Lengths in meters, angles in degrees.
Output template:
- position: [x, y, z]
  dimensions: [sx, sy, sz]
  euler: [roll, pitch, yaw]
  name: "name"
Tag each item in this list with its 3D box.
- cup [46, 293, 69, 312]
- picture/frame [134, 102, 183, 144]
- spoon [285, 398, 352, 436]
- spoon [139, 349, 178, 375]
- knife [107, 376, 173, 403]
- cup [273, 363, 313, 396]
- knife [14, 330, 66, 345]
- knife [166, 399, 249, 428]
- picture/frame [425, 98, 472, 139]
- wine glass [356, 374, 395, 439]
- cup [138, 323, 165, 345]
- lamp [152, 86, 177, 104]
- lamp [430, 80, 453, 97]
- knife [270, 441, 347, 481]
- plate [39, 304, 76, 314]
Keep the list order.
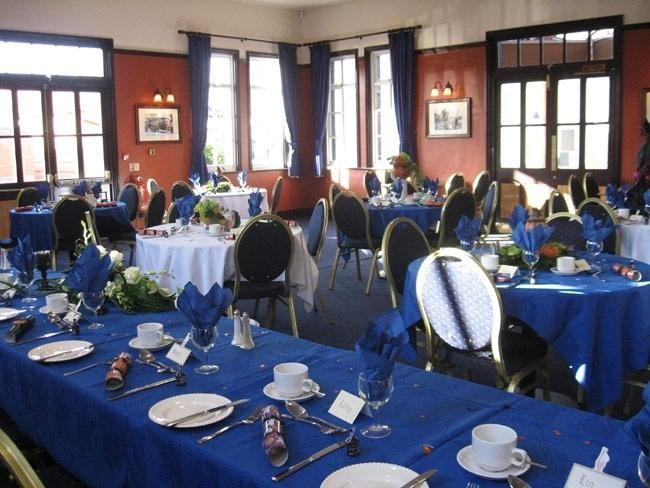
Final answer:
- position: [-1.346, 0.280, 2.675]
  dimensions: [0.076, 0.084, 0.106]
  euler: [-3, 12, -19]
  name: "cup"
- position: [-3.052, -2.204, 9.613]
  dimensions: [0.029, 0.607, 0.719]
  euler: [8, 11, 42]
  name: "picture/frame"
- position: [-0.042, 0.562, 1.709]
  dimensions: [0.201, 0.036, 0.049]
  euler: [20, 37, 34]
  name: "spoon"
- position: [-0.672, 0.473, 2.115]
  dimensions: [0.070, 0.036, 0.199]
  euler: [-4, 13, -34]
  name: "spoon"
- position: [-0.668, 0.528, 1.921]
  dimensions: [0.032, 0.024, 0.236]
  euler: [22, 21, 37]
  name: "knife"
- position: [-0.113, 0.455, 1.852]
  dimensions: [0.083, 0.088, 0.111]
  euler: [-4, 10, -31]
  name: "cup"
- position: [-1.273, 0.422, 2.379]
  dimensions: [0.024, 0.012, 0.214]
  euler: [24, 18, 27]
  name: "knife"
- position: [-0.388, 0.561, 1.746]
  dimensions: [0.175, 0.017, 0.024]
  euler: [-11, 33, -32]
  name: "knife"
- position: [2.270, -2.320, 9.732]
  dimensions: [0.055, 0.622, 0.686]
  euler: [-12, 16, -41]
  name: "picture/frame"
- position: [0.157, 0.476, 1.691]
  dimensions: [0.095, 0.197, 0.184]
  euler: [-1, 12, 4]
  name: "wine glass"
- position: [-0.751, 0.379, 2.294]
  dimensions: [0.070, 0.075, 0.101]
  euler: [0, 10, -7]
  name: "cup"
- position: [-2.889, -2.678, 9.651]
  dimensions: [0.179, 0.292, 0.449]
  euler: [6, 14, 32]
  name: "lamp"
- position: [2.093, -2.816, 9.698]
  dimensions: [0.431, 0.279, 0.141]
  euler: [10, 16, 43]
  name: "lamp"
- position: [-0.050, 0.623, 1.514]
  dimensions: [0.027, 0.008, 0.197]
  euler: [12, 20, 37]
  name: "knife"
- position: [-1.393, 0.330, 2.690]
  dimensions: [0.097, 0.028, 0.108]
  euler: [1, 0, 9]
  name: "plate"
